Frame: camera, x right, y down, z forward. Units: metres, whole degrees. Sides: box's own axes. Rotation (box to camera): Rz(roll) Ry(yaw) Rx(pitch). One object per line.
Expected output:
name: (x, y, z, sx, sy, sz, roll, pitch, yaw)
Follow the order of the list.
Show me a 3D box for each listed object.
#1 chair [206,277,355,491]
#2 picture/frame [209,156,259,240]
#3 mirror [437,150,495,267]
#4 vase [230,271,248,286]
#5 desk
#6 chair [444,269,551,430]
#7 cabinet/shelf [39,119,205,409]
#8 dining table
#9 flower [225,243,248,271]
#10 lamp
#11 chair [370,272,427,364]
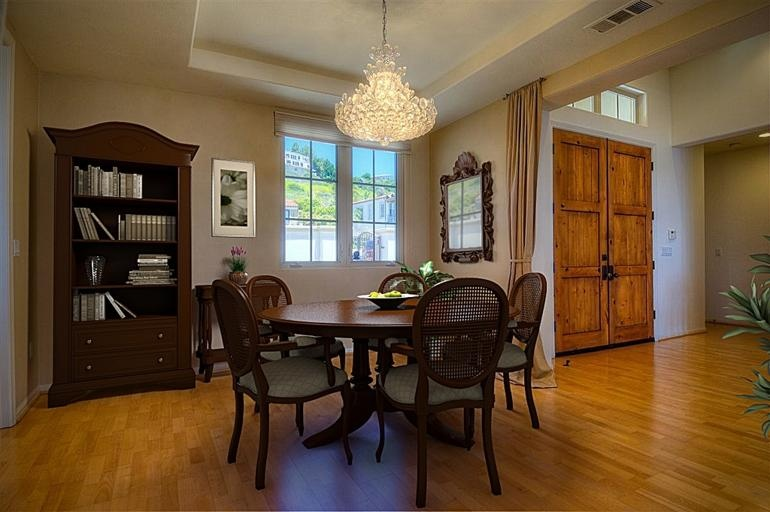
chair: (-0.882, 1.011, 4.312, 1.067, 1.516, 1.039, 1, -1, -39)
picture/frame: (-1.881, -0.701, 6.133, 0.550, 0.951, 0.262, -5, 15, -17)
mirror: (1.095, -0.610, 6.681, 0.342, 1.522, 1.110, -7, 16, -22)
vase: (-1.697, 0.263, 5.781, 0.258, 0.174, 0.252, -1, -8, 1)
desk: (-1.801, 0.878, 6.182, 0.426, 1.008, 1.190, -1, -1, 38)
chair: (0.959, 0.874, 4.778, 1.051, 1.427, 1.025, -2, 2, -41)
cabinet/shelf: (-2.848, 0.019, 5.376, 1.553, 2.825, 1.057, -6, 16, -20)
dining table: (-0.204, 1.082, 4.578, 1.595, 0.885, 1.470, -7, -12, -4)
flower: (-1.823, 0.028, 6.075, 0.310, 0.379, 0.303, -1, 2, -34)
lamp: (-0.068, -1.883, 5.219, 0.950, 1.378, 0.996, -5, 15, -18)
chair: (0.241, 0.588, 6.014, 0.776, 1.199, 0.825, 0, 0, -10)
